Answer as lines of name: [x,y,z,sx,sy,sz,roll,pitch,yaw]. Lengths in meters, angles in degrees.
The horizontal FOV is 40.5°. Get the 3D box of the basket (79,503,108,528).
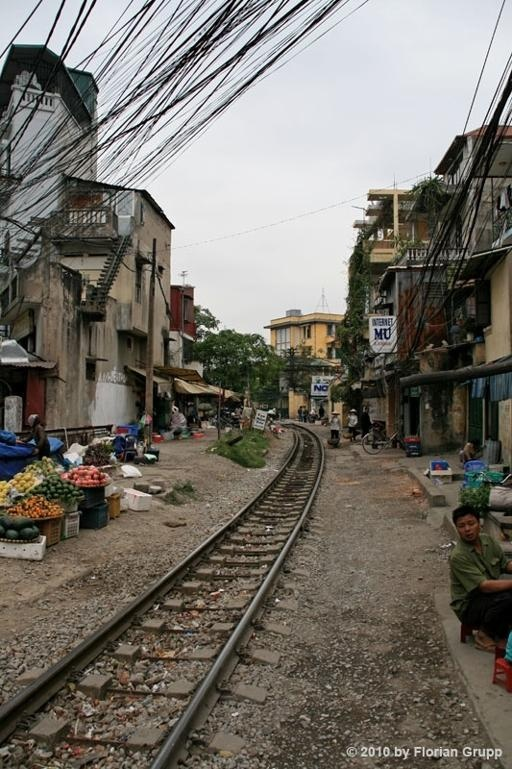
basket: [-2.535,1.953,10.716,0.300,0.331,0.474,-1,-1,4]

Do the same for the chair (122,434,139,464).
chair: [-3.495,1.787,19.274,0.385,0.704,1.428,1,-3,-10]

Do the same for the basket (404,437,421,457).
basket: [5.284,2.105,23.472,0.552,0.831,0.625,0,-3,19]

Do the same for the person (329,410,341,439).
person: [3.553,1.886,31.358,0.353,1.199,1.091,1,-3,2]

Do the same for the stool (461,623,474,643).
stool: [1.771,2.108,5.911,0.135,0.145,0.139,2,-6,-14]

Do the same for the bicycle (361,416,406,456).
bicycle: [5.004,2.249,27.822,1.798,1.204,0.933,-1,5,-9]

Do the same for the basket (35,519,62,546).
basket: [-2.854,1.975,9.492,0.295,0.343,0.394,-4,-5,24]
